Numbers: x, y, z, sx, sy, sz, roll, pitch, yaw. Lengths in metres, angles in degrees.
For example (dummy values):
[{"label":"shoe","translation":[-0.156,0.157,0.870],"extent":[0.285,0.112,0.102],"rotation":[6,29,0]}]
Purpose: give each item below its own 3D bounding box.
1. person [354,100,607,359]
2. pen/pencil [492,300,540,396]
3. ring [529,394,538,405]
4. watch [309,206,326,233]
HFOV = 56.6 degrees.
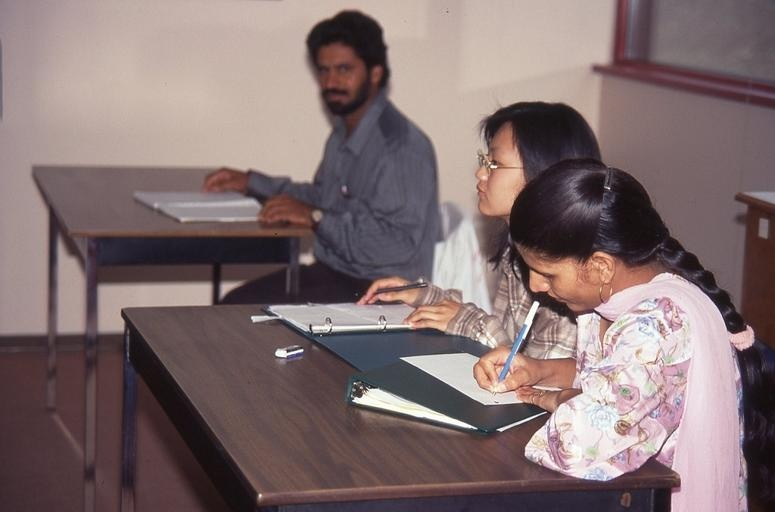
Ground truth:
[{"label":"person","translation":[0.328,-0.054,2.241],"extent":[0.784,0.800,0.632],"rotation":[-1,17,14]},{"label":"pen/pencil","translation":[0.342,0.241,1.859],"extent":[0.024,0.220,0.024],"rotation":[28,-3,-21]},{"label":"ring","translation":[0.336,0.322,1.625],"extent":[0.017,0.014,0.016],"rotation":[-4,12,1]},{"label":"watch","translation":[-0.263,-0.150,2.841],"extent":[0.057,0.081,0.022],"rotation":[3,0,-39]}]
